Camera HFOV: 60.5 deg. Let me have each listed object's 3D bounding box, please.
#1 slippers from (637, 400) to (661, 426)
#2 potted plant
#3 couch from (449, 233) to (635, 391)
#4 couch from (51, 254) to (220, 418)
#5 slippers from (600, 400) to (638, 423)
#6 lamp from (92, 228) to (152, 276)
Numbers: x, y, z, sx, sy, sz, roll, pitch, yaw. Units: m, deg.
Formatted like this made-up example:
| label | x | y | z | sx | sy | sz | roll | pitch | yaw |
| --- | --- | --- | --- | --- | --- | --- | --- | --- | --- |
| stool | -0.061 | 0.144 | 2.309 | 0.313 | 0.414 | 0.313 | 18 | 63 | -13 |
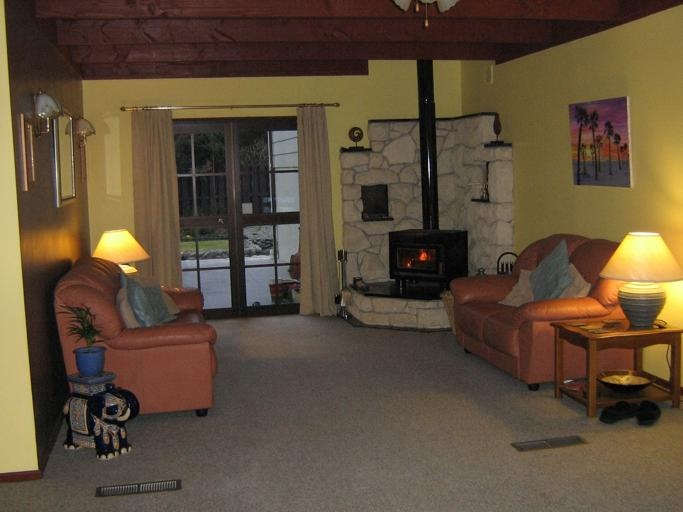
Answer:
| label | x | y | z | sx | sy | sz | roll | pitch | yaw |
| --- | --- | --- | --- | --- | --- | --- | --- | --- | --- |
| slippers | 2.388 | 1.216 | 4.551 | 0.159 | 0.119 | 0.262 | 2 | 9 | 32 |
| potted plant | -1.950 | 0.618 | 4.458 | 0.274 | 0.519 | 0.440 | -8 | 9 | -31 |
| couch | 1.842 | 0.006 | 5.601 | 1.140 | 1.475 | 2.004 | -2 | 6 | -13 |
| couch | -1.710 | 0.637 | 5.111 | 1.129 | 1.078 | 1.498 | -2 | 9 | -13 |
| slippers | 2.155 | 1.214 | 4.548 | 0.342 | 0.133 | 0.136 | -11 | 10 | -25 |
| lamp | -2.280 | -0.053 | 6.095 | 0.505 | 0.460 | 0.513 | -10 | 13 | -20 |
